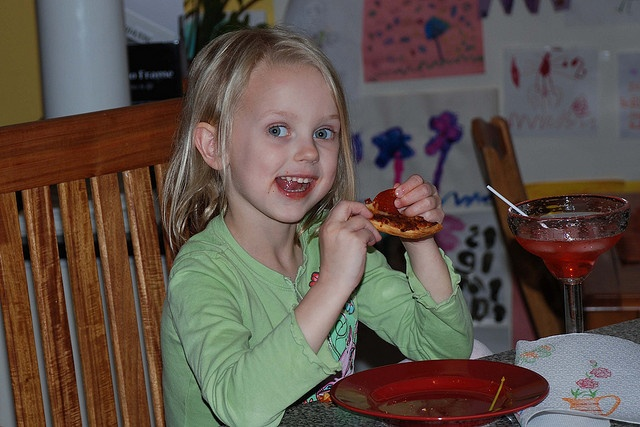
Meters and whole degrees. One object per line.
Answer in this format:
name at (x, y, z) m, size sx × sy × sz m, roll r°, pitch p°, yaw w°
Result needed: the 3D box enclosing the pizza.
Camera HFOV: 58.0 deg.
pizza at (0.184, 0.022, 1.299) m, size 0.142 × 0.059 × 0.112 m, roll 21°, pitch -2°, yaw -8°
